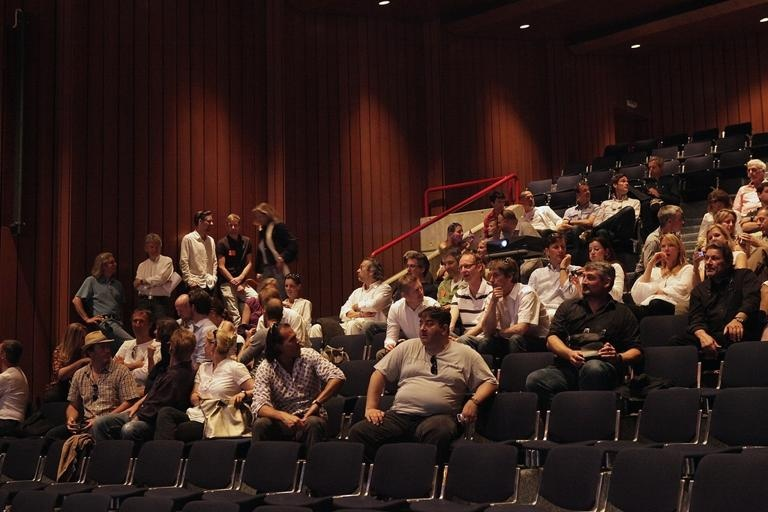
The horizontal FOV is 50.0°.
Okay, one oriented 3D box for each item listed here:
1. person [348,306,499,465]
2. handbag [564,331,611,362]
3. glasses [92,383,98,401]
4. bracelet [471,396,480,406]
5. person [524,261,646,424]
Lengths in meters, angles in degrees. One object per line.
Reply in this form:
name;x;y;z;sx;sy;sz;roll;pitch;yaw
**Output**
person;0.389;1.285;7.258;1.194;1.559;0.915;2;4;24
handbag;1.831;0.794;7.393;0.255;0.266;0.106;-4;-26;20
glasses;-2.875;1.361;8.243;0.081;0.131;0.030;-5;-4;27
bracelet;0.796;1.262;7.135;0.019;0.061;0.059;-43;45;-19
person;1.804;0.813;7.435;0.984;1.610;0.809;10;-8;-37
